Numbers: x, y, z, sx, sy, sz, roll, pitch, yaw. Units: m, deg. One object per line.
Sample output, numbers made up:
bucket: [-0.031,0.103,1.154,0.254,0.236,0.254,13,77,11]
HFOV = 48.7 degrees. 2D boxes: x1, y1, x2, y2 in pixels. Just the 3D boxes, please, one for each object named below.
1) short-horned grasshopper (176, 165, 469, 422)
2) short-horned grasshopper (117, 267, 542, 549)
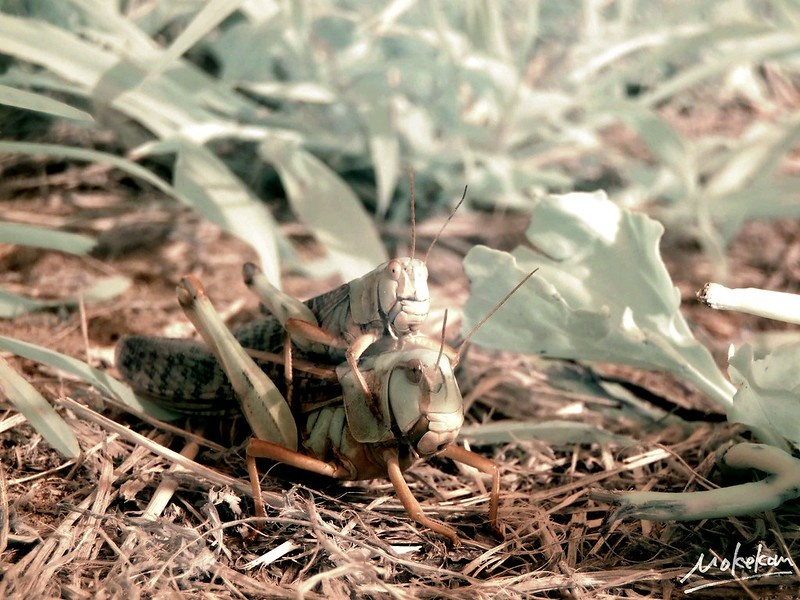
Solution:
short-horned grasshopper: [-0.075,0.019,0.913,0.304,0.197,0.197,-3,42,-13]
short-horned grasshopper: [-0.081,0.092,0.997,0.265,0.289,0.583,-12,10,-39]
